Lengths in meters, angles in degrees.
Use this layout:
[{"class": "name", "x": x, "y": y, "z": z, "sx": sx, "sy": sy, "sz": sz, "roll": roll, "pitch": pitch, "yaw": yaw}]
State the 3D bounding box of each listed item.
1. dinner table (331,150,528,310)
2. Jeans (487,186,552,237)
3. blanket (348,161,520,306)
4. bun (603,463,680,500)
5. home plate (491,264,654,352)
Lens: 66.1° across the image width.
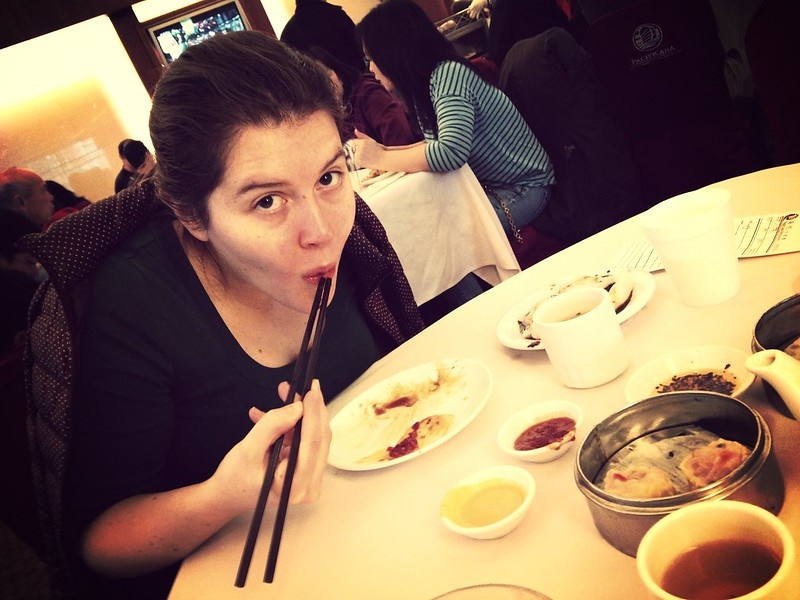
[{"class": "dinner table", "x": 0.151, "y": -0.464, "z": 3.198, "sx": 0.748, "sy": 0.412, "sz": 0.774, "roll": -35, "pitch": 53, "yaw": -1}, {"class": "Jeans", "x": 0.684, "y": -0.537, "z": 3.459, "sx": 0.310, "sy": 0.114, "sz": 0.311, "roll": -24, "pitch": 36, "yaw": 4}, {"class": "blanket", "x": 0.188, "y": -0.411, "z": 3.290, "sx": 0.743, "sy": 0.403, "sz": 0.768, "roll": -36, "pitch": 45, "yaw": 1}, {"class": "bun", "x": 0.390, "y": 0.302, "z": 1.021, "sx": 0.063, "sy": 0.021, "sz": 0.056, "roll": -11, "pitch": 14, "yaw": -36}, {"class": "home plate", "x": 0.434, "y": 0.005, "z": 1.554, "sx": 0.257, "sy": 0.063, "sz": 0.264, "roll": -16, "pitch": 17, "yaw": 38}]
